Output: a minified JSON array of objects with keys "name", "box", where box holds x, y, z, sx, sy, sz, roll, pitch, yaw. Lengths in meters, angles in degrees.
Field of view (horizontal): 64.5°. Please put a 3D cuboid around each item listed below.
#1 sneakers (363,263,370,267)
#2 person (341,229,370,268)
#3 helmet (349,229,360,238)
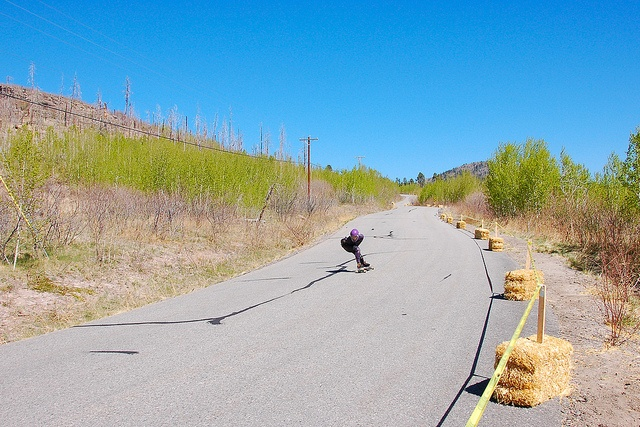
[{"name":"sneakers","box":[1.584,1.738,17.321,0.226,0.115,0.240,-1,15,-2]},{"name":"person","box":[1.215,1.243,17.476,0.645,1.571,0.978,-15,16,-9]},{"name":"helmet","box":[1.178,0.655,17.078,0.183,0.253,0.273,-2,-13,-6]}]
